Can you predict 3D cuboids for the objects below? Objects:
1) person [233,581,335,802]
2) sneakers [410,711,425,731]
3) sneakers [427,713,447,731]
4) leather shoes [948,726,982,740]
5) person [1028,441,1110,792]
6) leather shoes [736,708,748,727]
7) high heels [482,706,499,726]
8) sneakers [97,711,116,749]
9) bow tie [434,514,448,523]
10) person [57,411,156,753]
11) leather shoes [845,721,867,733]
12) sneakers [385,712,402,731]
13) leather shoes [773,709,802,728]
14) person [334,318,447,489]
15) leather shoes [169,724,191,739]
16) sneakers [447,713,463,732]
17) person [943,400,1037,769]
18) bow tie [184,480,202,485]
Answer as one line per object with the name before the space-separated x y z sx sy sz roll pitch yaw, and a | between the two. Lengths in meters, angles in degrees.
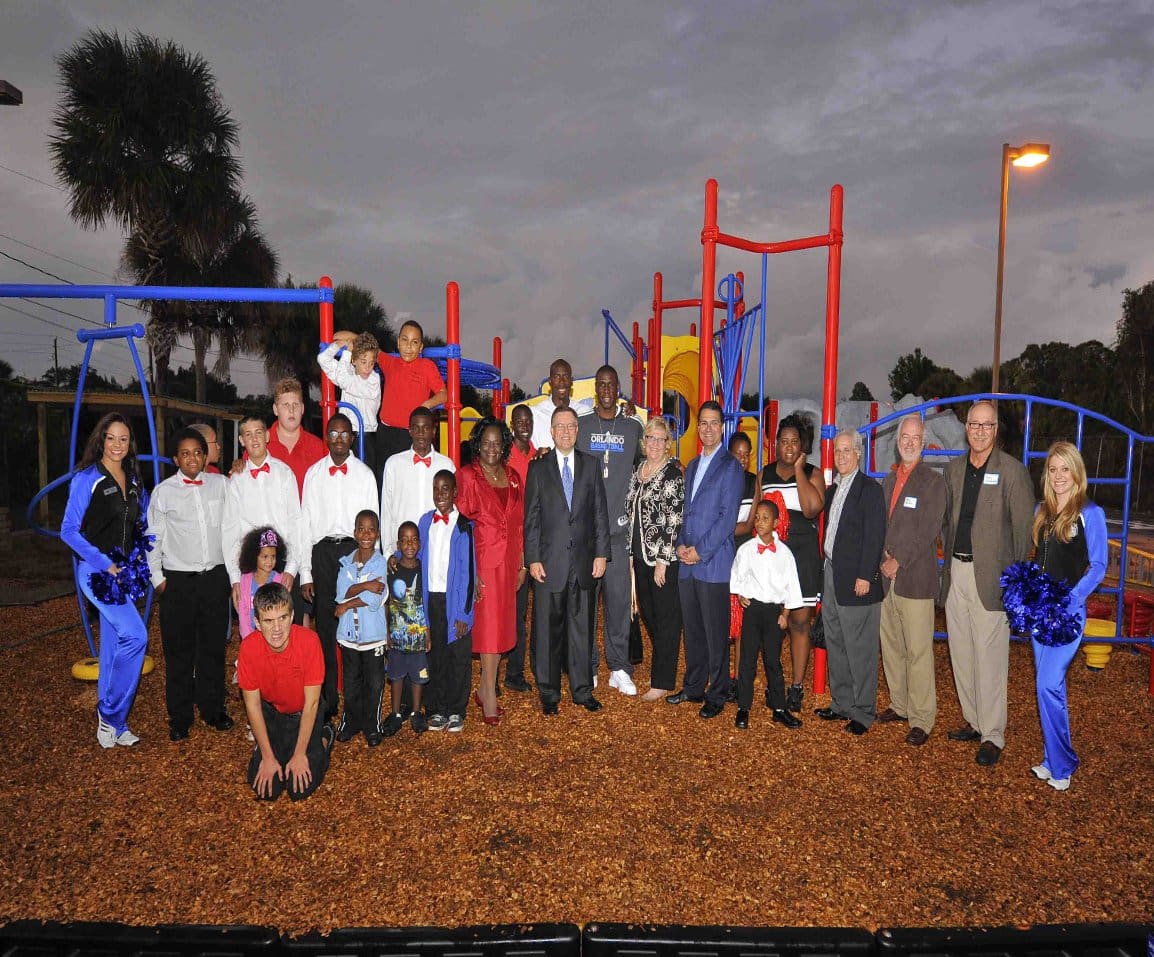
person | -2.092 1.501 7.437 0.611 1.532 0.357 -1 2 -17
sneakers | -1.273 1.956 8.361 0.110 0.136 0.119 -1 2 -8
sneakers | -1.114 1.957 8.359 0.152 0.118 0.070 0 2 -3
leather shoes | 3.086 2.049 8.318 0.201 0.096 0.119 8 34 2
person | 3.598 1.008 7.643 0.487 2.549 0.623 1 3 26
leather shoes | 1.341 1.944 8.500 0.110 0.142 0.182 0 2 9
high heels | -0.663 1.934 8.491 0.179 0.134 0.114 -2 3 -45
sneakers | -3.667 1.954 8.127 0.070 0.249 0.156 -4 -7 34
bow tie | -1.075 0.307 8.252 0.072 0.079 0.025 0 -20 -4
person | -3.627 0.805 8.065 0.599 2.595 0.516 -1 3 -25
leather shoes | 2.251 2.015 8.437 0.094 0.060 0.130 11 -3 -11
sneakers | -1.475 1.953 8.347 0.124 0.148 0.227 0 2 -1
leather shoes | 1.718 1.960 8.578 0.094 0.208 0.267 -1 0 -35
person | -1.642 -0.483 9.311 0.358 1.502 0.704 -11 -9 -43
leather shoes | -3.131 2.011 8.252 0.159 0.100 0.151 -1 2 -30
sneakers | -0.972 1.957 8.340 0.111 0.132 0.081 -1 2 -11
person | 3.140 0.798 7.991 0.637 2.768 0.363 1 3 26
bow tie | -2.991 0.024 8.134 0.108 0.054 0.022 -1 2 -14
